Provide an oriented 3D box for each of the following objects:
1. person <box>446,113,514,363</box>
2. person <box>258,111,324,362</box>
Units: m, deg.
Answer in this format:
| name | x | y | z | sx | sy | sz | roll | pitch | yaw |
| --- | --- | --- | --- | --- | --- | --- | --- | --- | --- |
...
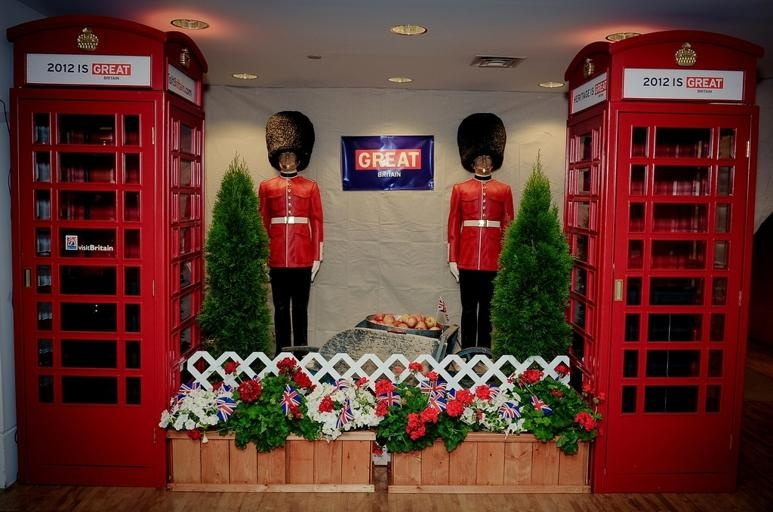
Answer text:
| name | x | y | z | sx | sy | sz | roll | pitch | yaw |
| --- | --- | --- | --- | --- | --- | --- | --- | --- | --- |
| person | 0.957 | -0.250 | 6.775 | 0.659 | 2.428 | 0.469 | 0 | 5 | 6 |
| person | -0.984 | -0.257 | 6.740 | 0.622 | 2.461 | 0.572 | -1 | 6 | -11 |
